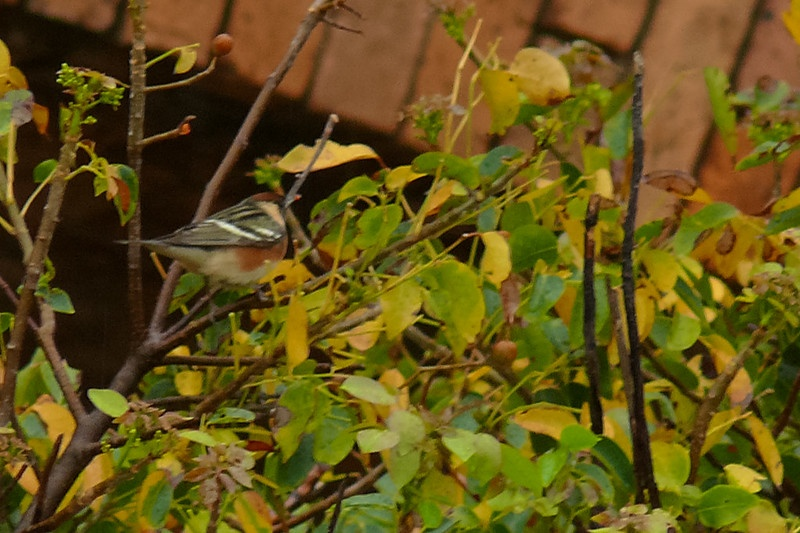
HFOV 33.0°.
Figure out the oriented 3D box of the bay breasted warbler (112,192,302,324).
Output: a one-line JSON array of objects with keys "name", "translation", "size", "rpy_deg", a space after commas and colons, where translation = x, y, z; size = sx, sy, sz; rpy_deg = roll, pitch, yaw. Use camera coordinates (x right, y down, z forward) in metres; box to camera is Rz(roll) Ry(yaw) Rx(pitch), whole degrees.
[{"name": "bay breasted warbler", "translation": [-0.329, -0.013, 2.490], "size": [0.357, 0.190, 0.153], "rpy_deg": [2, -7, 7]}]
